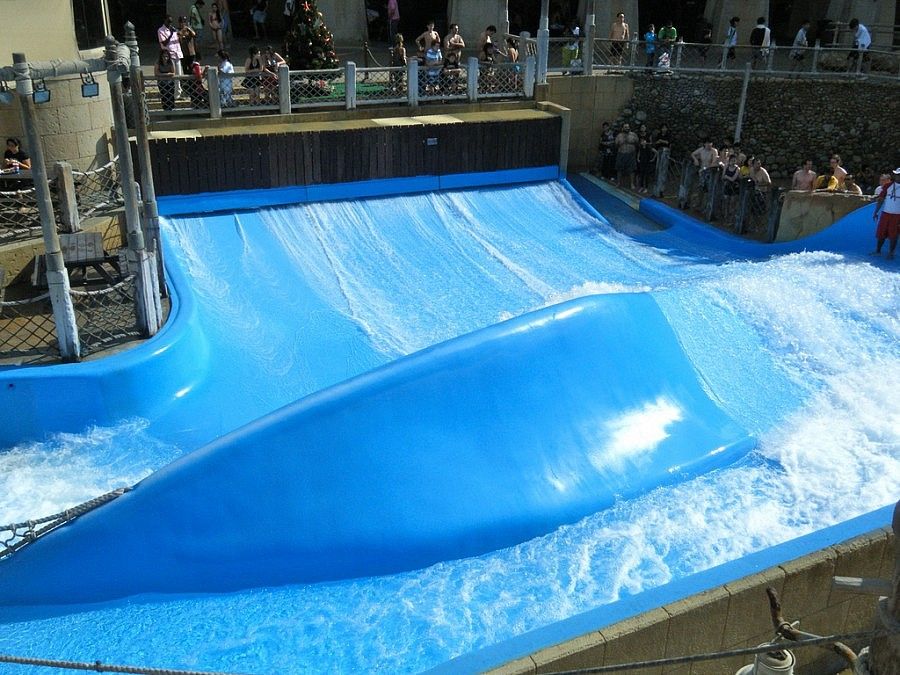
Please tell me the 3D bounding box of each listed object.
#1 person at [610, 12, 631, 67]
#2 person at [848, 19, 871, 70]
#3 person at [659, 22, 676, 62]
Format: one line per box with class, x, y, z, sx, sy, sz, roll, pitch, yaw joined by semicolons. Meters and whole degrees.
person;4.879;-8.606;18.515;0.490;1.344;2.466;4;23;13
person;11.284;-8.153;17.864;0.565;1.312;2.226;10;25;27
person;6.276;-8.601;18.601;0.441;0.992;1.938;5;23;16
